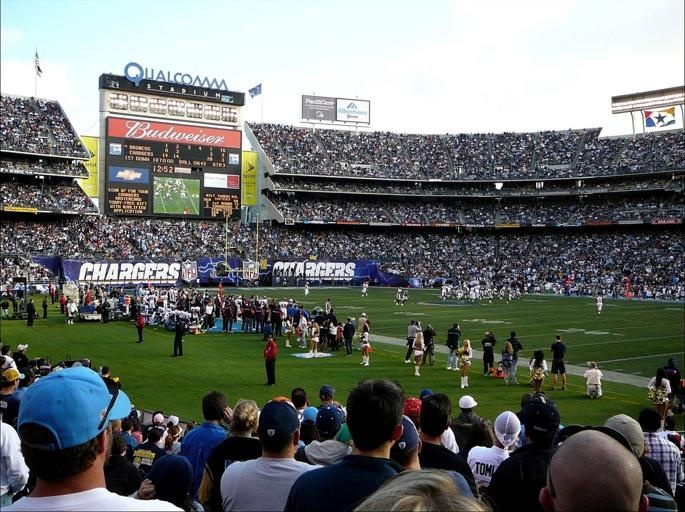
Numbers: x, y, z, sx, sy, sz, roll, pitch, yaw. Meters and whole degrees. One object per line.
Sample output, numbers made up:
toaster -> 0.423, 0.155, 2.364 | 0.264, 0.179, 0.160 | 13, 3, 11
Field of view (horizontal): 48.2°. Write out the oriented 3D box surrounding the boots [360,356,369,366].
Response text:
boots -> 0.792, 3.500, 25.313 | 0.250, 0.269, 0.282 | -5, -9, 44

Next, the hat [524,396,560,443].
hat -> 2.265, 1.887, 8.596 | 0.399, 0.607, 0.367 | -6, -8, 0

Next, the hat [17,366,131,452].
hat -> -2.243, 1.174, 6.438 | 0.742, 0.557, 1.092 | -1, 12, 10

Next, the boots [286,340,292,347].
boots -> -2.061, 3.506, 30.192 | 0.292, 0.274, 0.150 | -1, 3, -4

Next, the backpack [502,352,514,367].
backpack -> 4.783, 3.032, 22.328 | 0.313, 0.447, 0.435 | -1, 3, -2

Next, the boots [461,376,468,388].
boots -> 3.521, 3.607, 21.850 | 0.254, 0.333, 0.324 | 2, 8, 19
